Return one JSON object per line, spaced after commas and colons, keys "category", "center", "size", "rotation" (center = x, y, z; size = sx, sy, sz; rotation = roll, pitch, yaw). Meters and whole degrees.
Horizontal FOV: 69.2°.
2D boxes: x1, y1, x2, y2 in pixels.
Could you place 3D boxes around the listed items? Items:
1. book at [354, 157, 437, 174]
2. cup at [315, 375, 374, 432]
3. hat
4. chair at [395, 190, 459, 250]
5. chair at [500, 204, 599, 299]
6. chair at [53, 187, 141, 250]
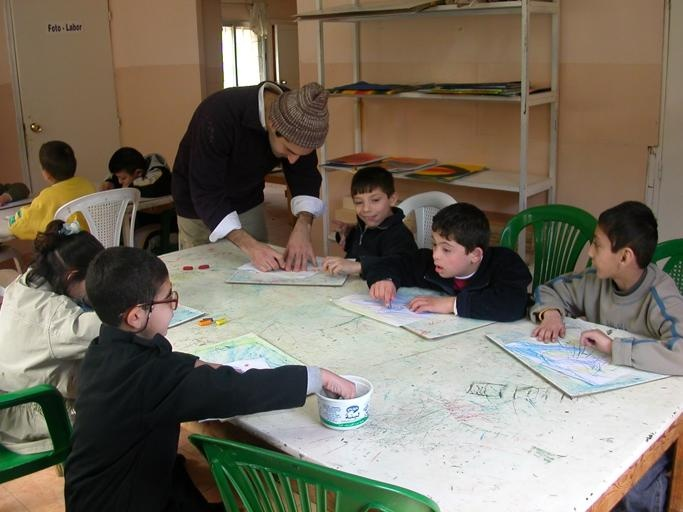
{"category": "book", "center": [0.418, -0.658, 3.542], "size": [0.282, 0.069, 0.266], "rotation": [-16, 23, -38]}
{"category": "cup", "center": [0.004, 0.365, 1.208], "size": [0.110, 0.072, 0.109], "rotation": [-6, 21, 2]}
{"category": "hat", "center": [-0.152, -0.597, 1.984], "size": [0.234, 0.192, 0.247], "rotation": [-22, 63, -33]}
{"category": "chair", "center": [0.449, -0.185, 2.798], "size": [0.306, 0.406, 0.324], "rotation": [-9, 16, -39]}
{"category": "chair", "center": [1.009, -0.042, 2.514], "size": [0.413, 0.579, 0.457], "rotation": [4, 7, 18]}
{"category": "chair", "center": [-1.383, -0.229, 2.801], "size": [0.290, 0.423, 0.281], "rotation": [34, 38, 31]}
